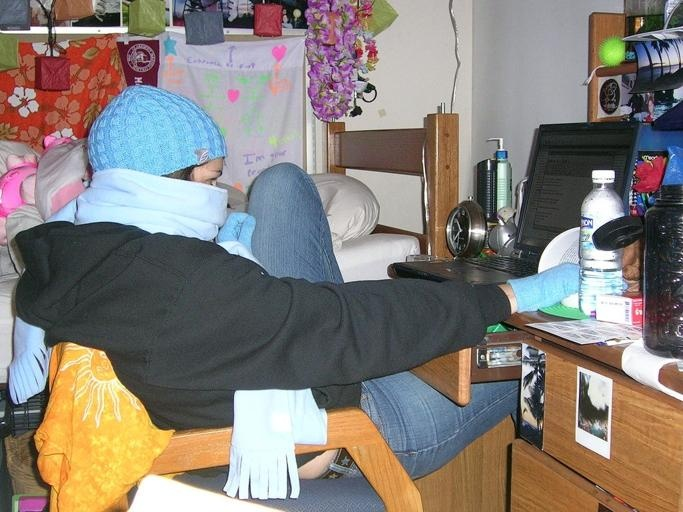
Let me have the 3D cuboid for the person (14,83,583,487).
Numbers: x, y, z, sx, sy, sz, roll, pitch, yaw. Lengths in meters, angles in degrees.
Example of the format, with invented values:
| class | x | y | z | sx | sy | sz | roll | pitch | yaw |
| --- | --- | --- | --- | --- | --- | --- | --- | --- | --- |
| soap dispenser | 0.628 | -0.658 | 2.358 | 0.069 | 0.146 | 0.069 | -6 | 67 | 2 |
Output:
| class | x | y | z | sx | sy | sz | roll | pitch | yaw |
| --- | --- | --- | --- | --- | --- | --- | --- | --- | --- |
| person | -0.031 | 0.043 | 1.410 | 1.256 | 0.731 | 0.808 | -7 | 14 | -23 |

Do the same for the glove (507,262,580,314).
| class | x | y | z | sx | sy | sz | roll | pitch | yaw |
| --- | --- | --- | --- | --- | --- | --- | --- | --- | --- |
| glove | 0.439 | 0.068 | 1.252 | 0.129 | 0.094 | 0.049 | -12 | 4 | -16 |

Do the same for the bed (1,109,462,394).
| class | x | y | z | sx | sy | sz | roll | pitch | yaw |
| --- | --- | --- | --- | --- | --- | --- | --- | --- | --- |
| bed | -0.256 | -0.198 | 2.108 | 1.456 | 0.712 | 0.923 | -7 | 16 | -20 |

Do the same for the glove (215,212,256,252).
| class | x | y | z | sx | sy | sz | roll | pitch | yaw |
| --- | --- | --- | --- | --- | --- | --- | --- | --- | --- |
| glove | -0.269 | -0.066 | 1.472 | 0.101 | 0.098 | 0.036 | 28 | -37 | -27 |

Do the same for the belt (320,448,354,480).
| class | x | y | z | sx | sy | sz | roll | pitch | yaw |
| --- | --- | --- | --- | --- | --- | --- | --- | --- | --- |
| belt | -0.005 | 0.478 | 1.329 | 0.081 | 0.042 | 0.061 | -18 | 12 | -15 |

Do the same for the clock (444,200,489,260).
| class | x | y | z | sx | sy | sz | roll | pitch | yaw |
| --- | --- | --- | --- | --- | --- | --- | --- | --- | --- |
| clock | 0.392 | -0.082 | 1.871 | 0.063 | 0.173 | 0.171 | 6 | -12 | -22 |

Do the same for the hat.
| class | x | y | z | sx | sy | sz | roll | pitch | yaw |
| --- | --- | --- | --- | --- | --- | --- | --- | --- | --- |
| hat | -0.362 | -0.241 | 1.157 | 0.226 | 0.144 | 0.177 | -10 | 22 | -19 |

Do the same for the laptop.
| class | x | y | z | sx | sy | sz | roll | pitch | yaw |
| --- | --- | --- | --- | --- | --- | --- | --- | --- | --- |
| laptop | 0.446 | -0.177 | 1.625 | 0.475 | 0.415 | 0.558 | 1 | 6 | -11 |
